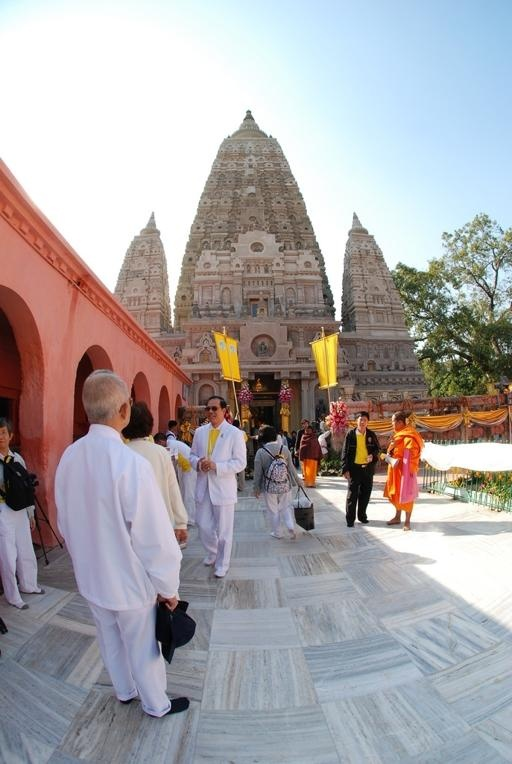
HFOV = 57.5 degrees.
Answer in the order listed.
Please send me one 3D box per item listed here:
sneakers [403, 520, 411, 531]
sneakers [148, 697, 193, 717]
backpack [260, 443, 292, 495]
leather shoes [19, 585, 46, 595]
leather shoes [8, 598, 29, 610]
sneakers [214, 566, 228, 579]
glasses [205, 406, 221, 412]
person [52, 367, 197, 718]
[{"bbox_3d":[1.932,1.449,5.959,0.059,0.170,0.123,-8,38,13],"label":"sneakers"},{"bbox_3d":[-0.450,1.418,2.474,0.215,0.080,0.066,-6,-2,-13],"label":"sneakers"},{"bbox_3d":[0.311,0.796,5.739,0.309,0.470,0.261,-1,2,7],"label":"backpack"},{"bbox_3d":[-1.969,1.468,4.092,0.196,0.073,0.066,2,-10,-15],"label":"leather shoes"},{"bbox_3d":[-1.928,1.452,3.776,0.150,0.038,0.058,6,-7,10],"label":"leather shoes"},{"bbox_3d":[-0.349,1.462,4.515,0.124,0.077,0.197,-1,-1,2],"label":"sneakers"},{"bbox_3d":[-0.426,0.110,4.700,0.137,0.039,0.131,-1,-1,-5],"label":"glasses"},{"bbox_3d":[-0.674,0.667,2.341,0.630,1.133,0.418,-1,-1,-9],"label":"person"}]
